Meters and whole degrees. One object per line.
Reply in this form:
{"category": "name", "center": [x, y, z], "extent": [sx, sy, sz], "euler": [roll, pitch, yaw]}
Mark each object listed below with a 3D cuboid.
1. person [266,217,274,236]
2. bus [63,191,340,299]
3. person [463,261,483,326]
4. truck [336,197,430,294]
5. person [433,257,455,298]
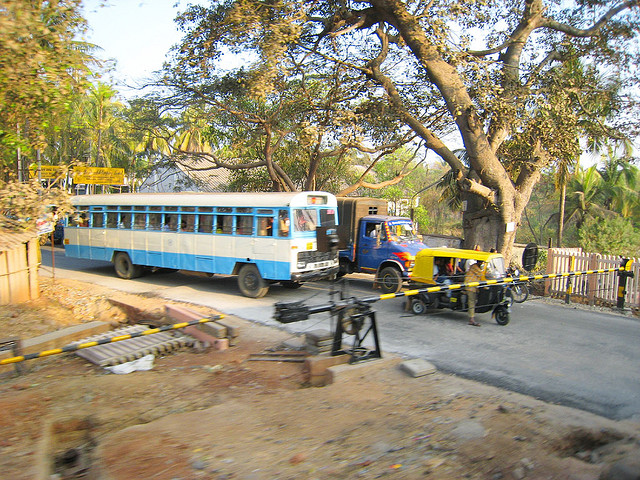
{"category": "person", "center": [-1.701, -0.448, 15.421], "extent": [0.117, 0.599, 0.331], "euler": [-10, 13, -40]}
{"category": "bus", "center": [-5.463, -0.157, 19.029], "extent": [13.086, 3.721, 3.022], "euler": [4, 10, 31]}
{"category": "person", "center": [4.389, 1.526, 13.021], "extent": [0.529, 1.791, 0.621], "euler": [0, 10, 7]}
{"category": "truck", "center": [1.947, -0.107, 19.228], "extent": [6.392, 2.937, 3.063], "euler": [11, 15, 44]}
{"category": "person", "center": [3.648, 1.121, 13.566], "extent": [0.378, 1.120, 0.788], "euler": [-3, 9, -12]}
